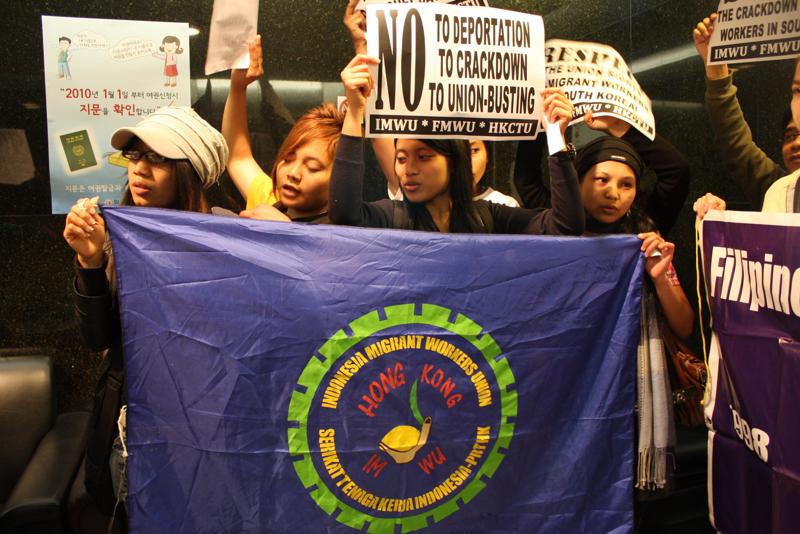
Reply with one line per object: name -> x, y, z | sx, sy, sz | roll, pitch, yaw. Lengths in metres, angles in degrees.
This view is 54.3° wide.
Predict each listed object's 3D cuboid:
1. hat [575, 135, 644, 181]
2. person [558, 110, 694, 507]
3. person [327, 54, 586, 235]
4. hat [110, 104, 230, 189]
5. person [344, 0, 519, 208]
hat -> 0.944, -0.452, 3.480 | 0.365, 0.203, 0.320 | 0, 10, 23
person -> 0.969, 0.211, 3.325 | 0.530, 1.544, 0.455 | -4, 10, 18
person -> 0.210, -0.428, 3.140 | 0.954, 0.715, 0.436 | 1, 7, 6
hat -> -0.933, -0.525, 3.193 | 0.247, 0.240, 0.371 | 4, -10, 35
person -> 0.118, -0.626, 3.874 | 0.838, 1.395, 0.309 | -2, 9, -13
